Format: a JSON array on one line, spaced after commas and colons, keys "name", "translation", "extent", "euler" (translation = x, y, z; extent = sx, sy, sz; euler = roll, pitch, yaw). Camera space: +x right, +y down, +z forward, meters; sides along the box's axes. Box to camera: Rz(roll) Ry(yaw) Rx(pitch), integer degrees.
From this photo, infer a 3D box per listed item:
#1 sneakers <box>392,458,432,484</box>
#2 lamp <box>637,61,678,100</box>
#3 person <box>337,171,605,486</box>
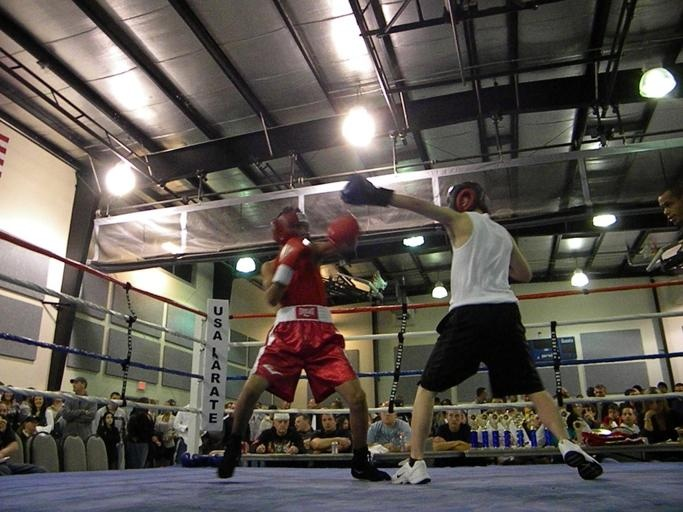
[{"name": "sneakers", "translation": [0.337, 1.035, 2.372], "extent": [0.203, 0.113, 0.180], "euler": [-10, -21, 24]}, {"name": "lamp", "translation": [3.474, -1.906, 5.411], "extent": [0.312, 0.327, 0.352], "euler": [-11, -22, 24]}, {"name": "person", "translation": [0.623, 0.292, 2.411], "extent": [1.072, 1.550, 0.575], "euler": [-2, -23, 1]}]
